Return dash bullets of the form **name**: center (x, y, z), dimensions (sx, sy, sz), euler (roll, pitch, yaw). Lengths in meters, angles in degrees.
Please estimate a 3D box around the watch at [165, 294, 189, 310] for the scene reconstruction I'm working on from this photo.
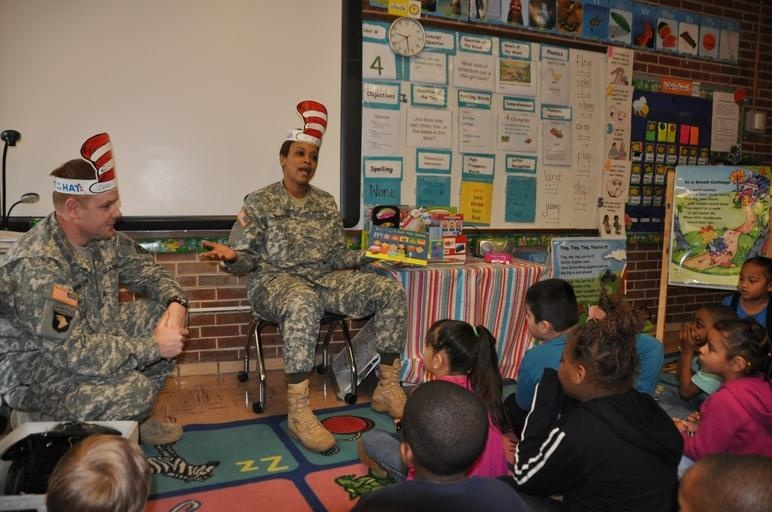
- **watch**: center (-1.249, 0.299, 3.347), dimensions (0.124, 0.075, 0.109), euler (3, -31, 15)

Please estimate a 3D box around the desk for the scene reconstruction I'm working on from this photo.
- **desk**: center (0.619, 0.478, 4.739), dimensions (1.611, 0.975, 0.936), euler (-1, 2, -12)

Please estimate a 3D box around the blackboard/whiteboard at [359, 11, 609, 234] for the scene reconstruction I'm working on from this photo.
- **blackboard/whiteboard**: center (0.791, -1.235, 4.935), dimensions (2.419, 1.405, 0.036), euler (1, 0, -21)

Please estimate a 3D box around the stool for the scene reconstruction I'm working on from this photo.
- **stool**: center (-0.665, 0.735, 4.119), dimensions (0.789, 0.616, 0.750), euler (1, 9, -25)

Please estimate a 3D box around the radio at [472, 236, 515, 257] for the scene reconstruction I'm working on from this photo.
- **radio**: center (0.977, -0.094, 4.937), dimensions (0.276, 0.103, 0.198), euler (1, 2, -2)

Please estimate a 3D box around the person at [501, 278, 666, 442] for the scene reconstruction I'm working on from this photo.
- **person**: center (1.234, 0.580, 3.325), dimensions (1.010, 0.873, 0.567), euler (-11, 9, 21)

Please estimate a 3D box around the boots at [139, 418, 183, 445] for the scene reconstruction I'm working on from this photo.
- **boots**: center (-1.399, 1.099, 3.427), dimensions (0.226, 0.052, 0.123), euler (6, 11, -27)

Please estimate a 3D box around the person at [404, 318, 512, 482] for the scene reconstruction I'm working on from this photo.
- **person**: center (0.391, 0.808, 3.037), dimensions (0.501, 0.918, 0.379), euler (5, 10, 28)
